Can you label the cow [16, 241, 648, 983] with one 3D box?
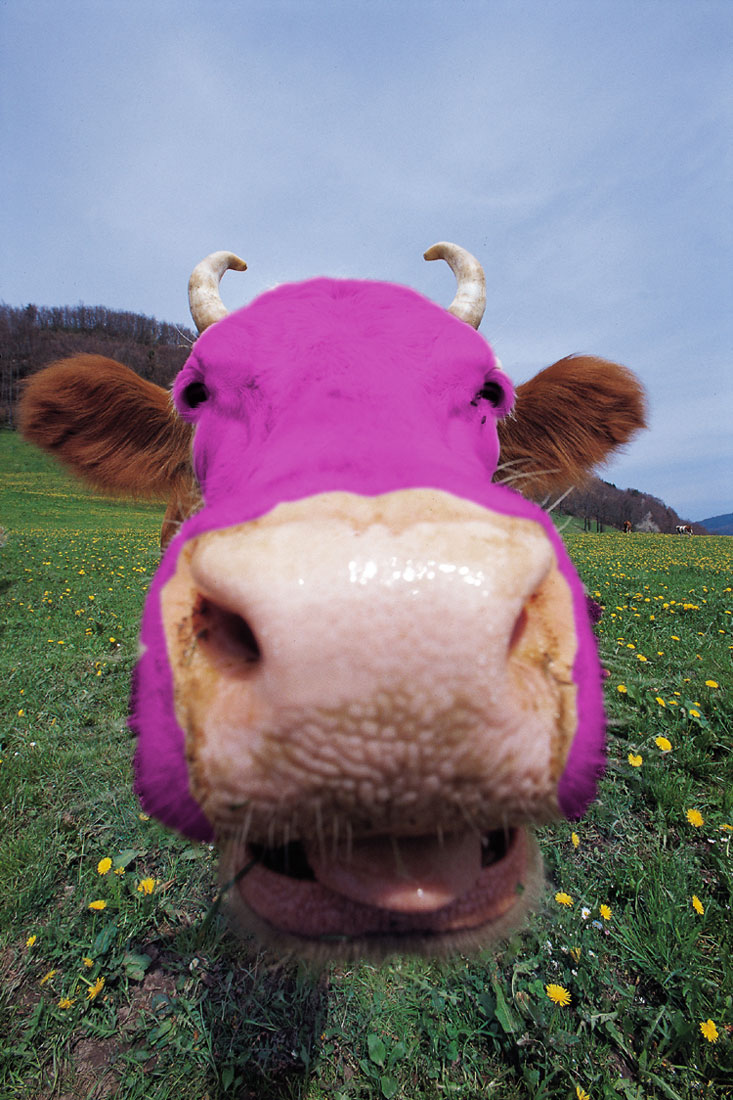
[{"bbox_3d":[-0.013,-0.223,3.697,1.933,2.054,3.814,-1,11,-3],"label":"cow"}]
